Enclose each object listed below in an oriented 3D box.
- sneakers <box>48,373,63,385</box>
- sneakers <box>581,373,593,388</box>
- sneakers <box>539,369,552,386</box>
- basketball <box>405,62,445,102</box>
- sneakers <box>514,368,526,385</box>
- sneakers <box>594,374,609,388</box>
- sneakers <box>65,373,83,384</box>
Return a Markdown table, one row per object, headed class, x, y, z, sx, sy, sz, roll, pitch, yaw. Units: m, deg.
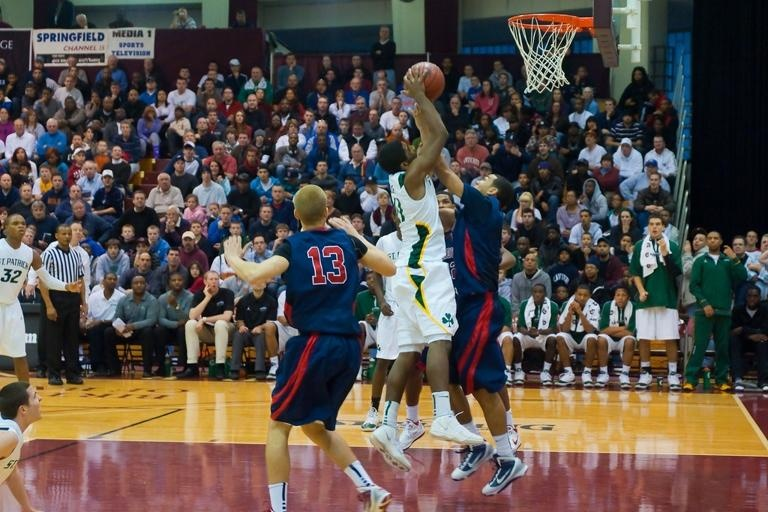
| class | x | y | z | sx | sy | sz | roll | pitch | yaw |
| --- | --- | --- | --- | --- | --- | --- | --- | --- | --- |
| sneakers | -5.393 | 2.043 | 16.733 | 0.105 | 0.136 | 0.305 | 3 | -9 | -40 |
| sneakers | 3.376 | 2.087 | 16.978 | 0.160 | 0.227 | 0.486 | 0 | -7 | 2 |
| sneakers | 2.736 | 2.061 | 17.205 | 0.186 | 0.276 | 0.552 | 1 | -6 | -3 |
| basketball | 0.503 | -2.106 | 12.458 | 0.402 | 0.466 | 0.433 | -12 | 9 | 4 |
| sneakers | 2.284 | 2.044 | 17.190 | 0.179 | 0.268 | 0.546 | 0 | -9 | 5 |
| sneakers | 3.615 | 2.080 | 16.936 | 0.108 | 0.175 | 0.339 | -3 | -22 | 19 |
| sneakers | -5.155 | 2.059 | 16.935 | 0.242 | 0.157 | 0.137 | -2 | -1 | 10 |
